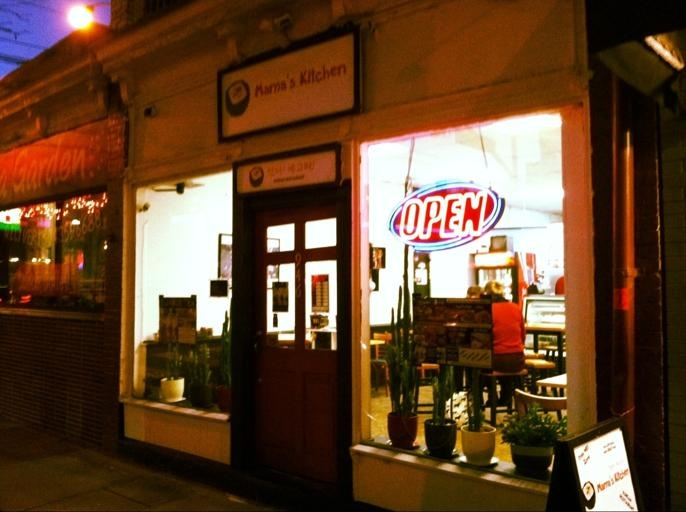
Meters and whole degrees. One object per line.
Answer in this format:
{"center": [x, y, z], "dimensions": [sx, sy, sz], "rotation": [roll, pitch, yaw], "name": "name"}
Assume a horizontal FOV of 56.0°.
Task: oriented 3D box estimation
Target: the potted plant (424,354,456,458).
{"center": [0.894, 1.419, 5.923], "dimensions": [0.286, 0.833, 0.246], "rotation": [-1, -7, 10], "name": "potted plant"}

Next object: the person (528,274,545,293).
{"center": [4.231, 0.623, 14.222], "dimensions": [0.396, 0.285, 1.723], "rotation": [3, -1, 14], "name": "person"}

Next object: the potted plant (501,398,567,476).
{"center": [1.568, 1.590, 5.596], "dimensions": [0.636, 0.691, 0.567], "rotation": [3, -18, -2], "name": "potted plant"}

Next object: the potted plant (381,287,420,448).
{"center": [0.558, 1.058, 6.121], "dimensions": [0.187, 1.495, 0.270], "rotation": [7, -9, -42], "name": "potted plant"}

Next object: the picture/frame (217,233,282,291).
{"center": [-1.075, 0.072, 7.476], "dimensions": [0.780, 0.882, 0.040], "rotation": [-3, 5, -28], "name": "picture/frame"}

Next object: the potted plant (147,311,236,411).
{"center": [-1.892, 1.324, 7.889], "dimensions": [1.151, 1.197, 0.634], "rotation": [-1, -1, 29], "name": "potted plant"}

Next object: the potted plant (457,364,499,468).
{"center": [1.214, 1.431, 5.796], "dimensions": [0.305, 0.833, 0.367], "rotation": [-3, -8, 24], "name": "potted plant"}
